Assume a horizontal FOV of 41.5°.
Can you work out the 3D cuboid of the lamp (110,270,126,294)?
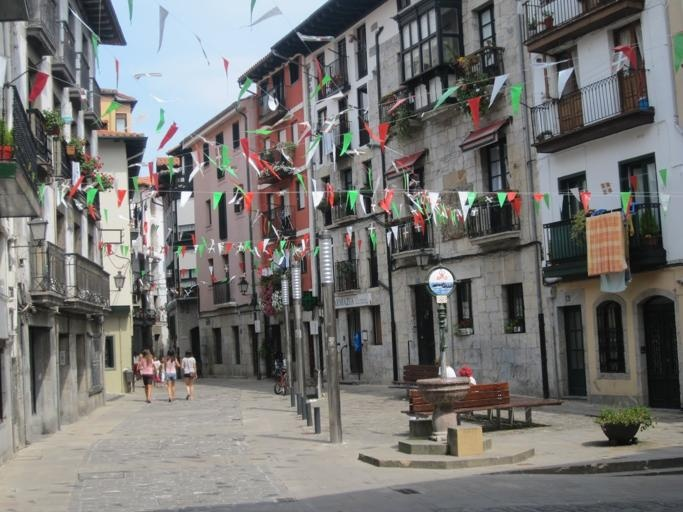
[{"bbox_3d":[-9.692,1.113,39.106,0.787,1.232,0.807,2,-6,0],"label":"lamp"}]

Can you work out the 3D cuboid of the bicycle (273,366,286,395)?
[{"bbox_3d":[-2.372,4.784,34.389,0.614,0.779,1.229,1,-19,1],"label":"bicycle"}]

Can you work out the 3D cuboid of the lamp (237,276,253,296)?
[{"bbox_3d":[-5.148,1.534,47.071,0.898,1.368,0.949,2,-6,0],"label":"lamp"}]

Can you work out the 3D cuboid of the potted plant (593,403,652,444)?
[{"bbox_3d":[5.999,3.563,19.311,1.026,0.849,0.984,-2,-1,-31],"label":"potted plant"}]

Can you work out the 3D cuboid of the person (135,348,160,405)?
[{"bbox_3d":[-7.456,4.595,34.888,0.615,2.022,0.562,-3,-7,11],"label":"person"}]

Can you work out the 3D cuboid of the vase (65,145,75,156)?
[{"bbox_3d":[-8.334,-3.265,27.781,0.268,0.359,0.234,2,-10,-21],"label":"vase"}]

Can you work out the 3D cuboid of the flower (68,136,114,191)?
[{"bbox_3d":[-8.039,-2.828,28.759,1.490,0.650,1.035,1,-7,-13],"label":"flower"}]
